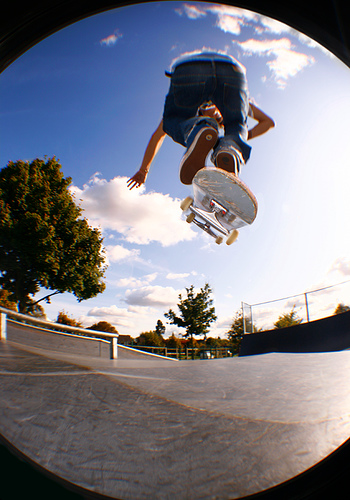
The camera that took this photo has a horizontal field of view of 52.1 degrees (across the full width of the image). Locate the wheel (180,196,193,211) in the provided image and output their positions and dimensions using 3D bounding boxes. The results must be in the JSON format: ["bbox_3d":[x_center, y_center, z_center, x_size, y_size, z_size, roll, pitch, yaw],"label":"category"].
[{"bbox_3d":[0.125,-0.518,3.974,0.134,0.130,0.031,-3,45,-46],"label":"wheel"}]

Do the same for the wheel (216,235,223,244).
[{"bbox_3d":[0.524,-0.127,4.244,0.078,0.077,0.098,15,31,7],"label":"wheel"}]

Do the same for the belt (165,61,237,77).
[{"bbox_3d":[0.247,-1.843,3.645,0.728,0.150,0.125,8,12,13],"label":"belt"}]

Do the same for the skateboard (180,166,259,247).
[{"bbox_3d":[0.508,-0.485,4.013,0.489,0.234,1.346,31,-18,6],"label":"skateboard"}]
